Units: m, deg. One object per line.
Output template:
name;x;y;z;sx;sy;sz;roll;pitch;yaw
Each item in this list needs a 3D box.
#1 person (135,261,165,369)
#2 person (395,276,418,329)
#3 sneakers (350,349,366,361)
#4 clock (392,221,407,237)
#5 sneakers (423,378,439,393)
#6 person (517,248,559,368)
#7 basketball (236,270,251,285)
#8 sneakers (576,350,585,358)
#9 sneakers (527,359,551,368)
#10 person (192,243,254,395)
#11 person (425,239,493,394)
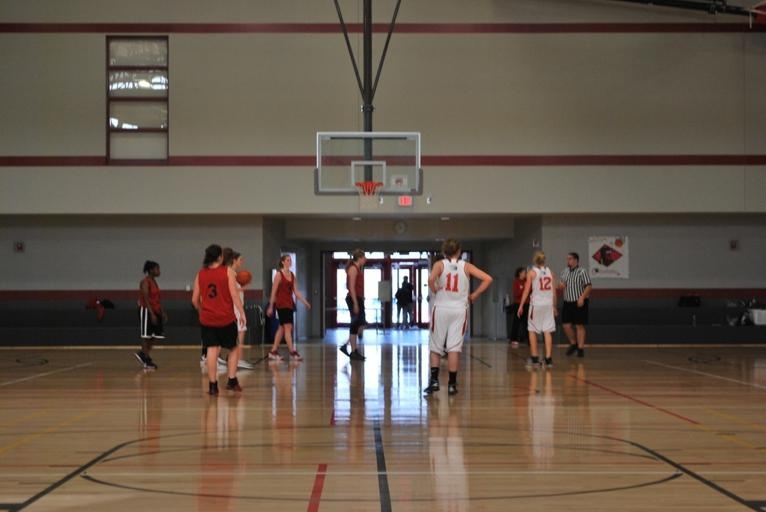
person;-4.249;1.074;14.886;0.492;1.976;0.665;-2;8;-16
person;0.583;1.283;22.881;0.468;1.429;0.521;0;7;0
sneakers;-0.459;1.898;15.679;0.414;0.187;0.143;-1;-1;1
clock;0.421;-0.673;20.298;0.333;0.363;0.120;0;7;0
sneakers;0.770;2.020;12.655;0.284;0.294;0.130;-1;-6;10
person;2.822;0.977;15.056;0.668;2.143;0.734;1;7;9
basketball;-2.543;0.393;14.832;0.196;0.244;0.202;13;-23;23
sneakers;3.858;1.927;16.125;0.151;0.190;0.466;1;-1;8
sneakers;2.879;1.953;15.072;0.166;0.186;0.413;1;1;-44
person;-2.555;0.969;12.701;0.729;2.289;0.518;-1;7;-9
person;1.036;0.955;12.488;0.832;2.364;0.527;0;7;2
